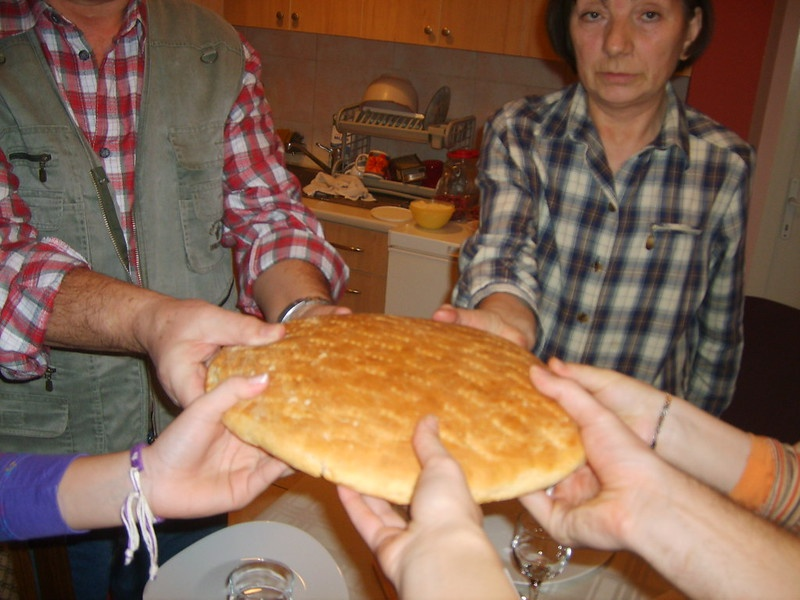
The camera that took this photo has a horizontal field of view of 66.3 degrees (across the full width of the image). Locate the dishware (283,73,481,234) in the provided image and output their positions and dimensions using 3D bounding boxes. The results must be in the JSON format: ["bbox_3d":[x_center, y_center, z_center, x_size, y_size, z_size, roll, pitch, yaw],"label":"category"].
[{"bbox_3d":[-0.047,-0.815,3.389,0.955,0.913,0.589,14,21,28],"label":"dishware"}]
